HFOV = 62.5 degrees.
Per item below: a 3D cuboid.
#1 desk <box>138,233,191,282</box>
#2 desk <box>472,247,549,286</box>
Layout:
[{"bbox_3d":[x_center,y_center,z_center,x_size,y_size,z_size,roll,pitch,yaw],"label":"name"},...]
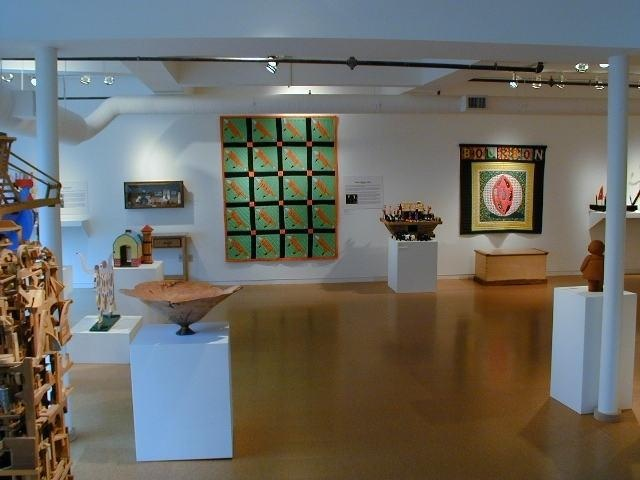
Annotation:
[{"bbox_3d":[-2.956,0.373,10.205,0.739,0.873,0.521,-1,-5,-13],"label":"desk"},{"bbox_3d":[3.797,0.521,10.577,1.284,0.643,0.588,-1,10,-4],"label":"desk"}]
